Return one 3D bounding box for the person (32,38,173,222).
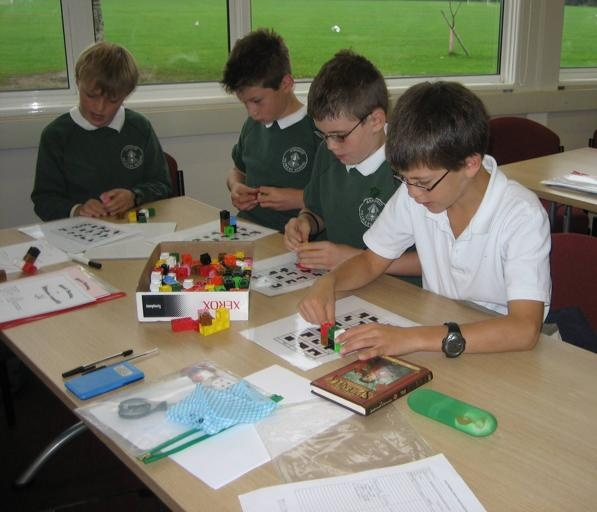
[{"bbox_3d":[-0.975,-0.515,2.310,0.671,1.022,0.518,-6,30,-28],"label":"person"}]

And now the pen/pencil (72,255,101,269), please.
[{"bbox_3d":[-0.717,0.020,1.557,0.139,0.020,0.019,13,11,37],"label":"pen/pencil"}]

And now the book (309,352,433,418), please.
[{"bbox_3d":[0.150,0.230,0.922,0.147,0.030,0.114,-18,24,-39],"label":"book"}]

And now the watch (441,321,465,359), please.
[{"bbox_3d":[0.351,0.196,1.057,0.044,0.077,0.074,3,-4,8],"label":"watch"}]

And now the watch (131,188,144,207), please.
[{"bbox_3d":[-0.746,-0.265,2.157,0.060,0.069,0.070,-1,10,1],"label":"watch"}]

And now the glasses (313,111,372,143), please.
[{"bbox_3d":[0.146,-0.453,1.550,0.119,0.035,0.119,-36,28,-20],"label":"glasses"}]

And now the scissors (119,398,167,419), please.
[{"bbox_3d":[-0.299,0.285,0.874,0.056,0.015,0.040,-2,20,-21],"label":"scissors"}]
